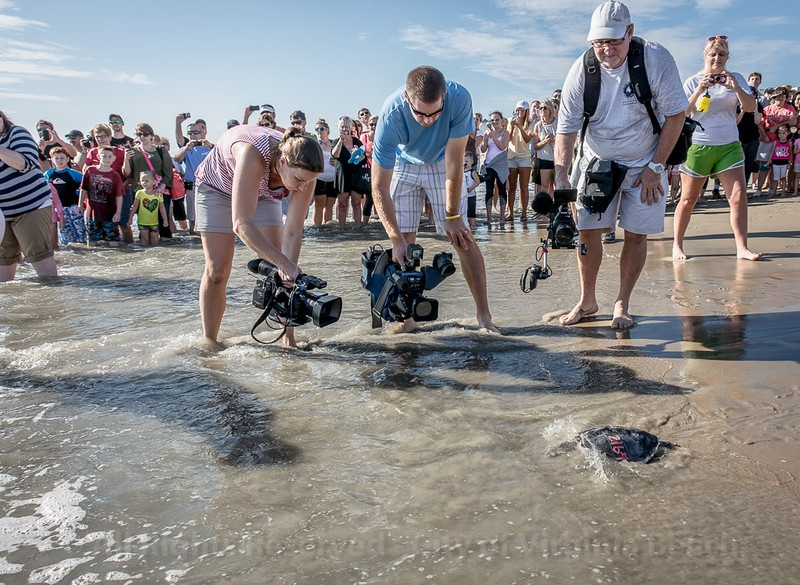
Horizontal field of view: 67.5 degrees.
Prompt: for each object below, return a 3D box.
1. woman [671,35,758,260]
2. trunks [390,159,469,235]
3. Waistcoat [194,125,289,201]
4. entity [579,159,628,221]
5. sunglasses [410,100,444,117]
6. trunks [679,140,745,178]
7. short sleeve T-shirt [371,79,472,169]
[{"bbox_3d":[3.295,-1.504,6.256,0.934,2.198,0.819,2,11,27],"label":"woman"},{"bbox_3d":[0.225,-0.712,4.850,0.578,0.659,0.273,-7,-35,8],"label":"trunks"},{"bbox_3d":[-1.100,-0.891,4.042,0.694,0.486,0.452,-2,7,-1],"label":"Waistcoat"},{"bbox_3d":[1.508,-0.794,4.530,0.350,0.385,0.169,26,28,28],"label":"entity"},{"bbox_3d":[0.186,-1.229,4.067,0.207,0.081,0.084,-2,7,-5],"label":"sunglasses"},{"bbox_3d":[3.385,-1.439,6.380,0.624,0.402,0.336,5,10,38],"label":"trunks"},{"bbox_3d":[0.177,-1.227,4.467,0.731,0.584,0.472,1,8,18],"label":"short sleeve T-shirt"}]
